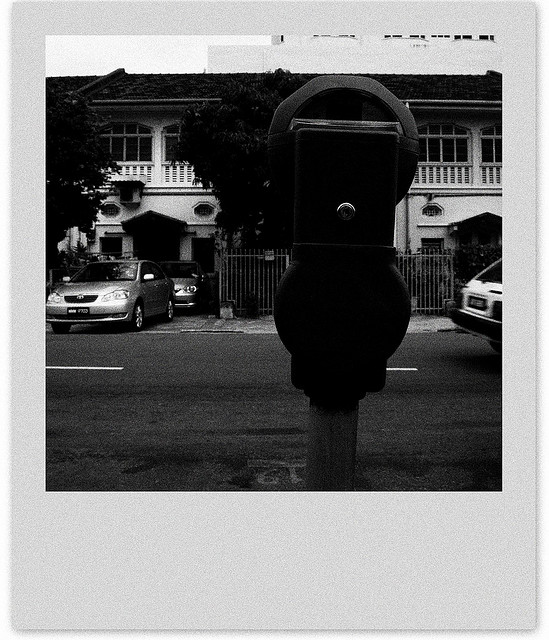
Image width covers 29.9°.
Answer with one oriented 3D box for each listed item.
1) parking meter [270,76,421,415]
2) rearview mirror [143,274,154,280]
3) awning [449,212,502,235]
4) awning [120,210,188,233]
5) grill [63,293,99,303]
[{"bbox_3d":[0.279,-0.320,4.249,0.598,1.392,0.464,0,4,-1],"label":"parking meter"},{"bbox_3d":[-1.881,-0.646,15.365,0.094,0.071,0.386,2,6,16],"label":"rearview mirror"},{"bbox_3d":[4.396,-2.108,22.490,1.106,0.491,0.643,2,5,11],"label":"awning"},{"bbox_3d":[-2.806,-2.283,23.994,1.548,0.504,0.750,0,5,-9],"label":"awning"},{"bbox_3d":[-2.650,-0.302,14.075,0.462,0.132,0.130,0,5,-11],"label":"grill"}]
